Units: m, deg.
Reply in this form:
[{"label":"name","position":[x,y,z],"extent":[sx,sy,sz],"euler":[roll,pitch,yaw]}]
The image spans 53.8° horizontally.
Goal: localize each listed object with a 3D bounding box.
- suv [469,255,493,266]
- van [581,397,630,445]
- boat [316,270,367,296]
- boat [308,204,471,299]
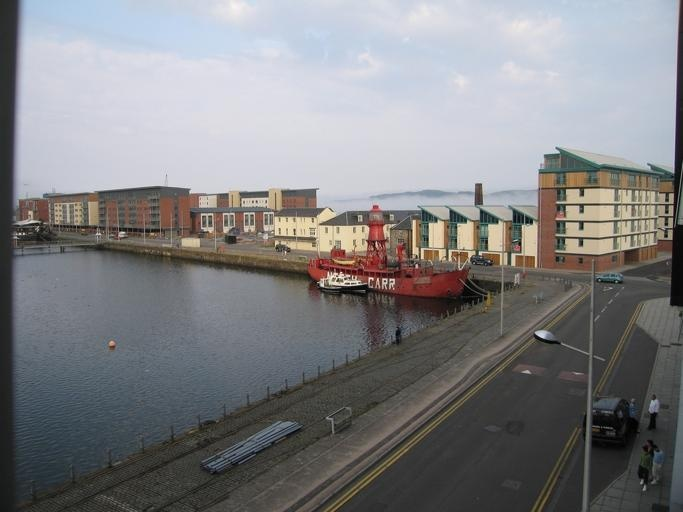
[{"label":"suv","position":[19.458,0.642,92.943],"extent":[2.218,1.076,1.391],"euler":[2,11,23]},{"label":"van","position":[14.121,8.539,35.219],"extent":[1.756,1.967,5.167],"euler":[1,0,24]},{"label":"boat","position":[0.539,3.429,86.087],"extent":[6.075,2.354,2.661],"euler":[3,9,37]},{"label":"boat","position":[5.541,-0.301,84.523],"extent":[22.281,10.021,4.743],"euler":[6,12,39]}]
